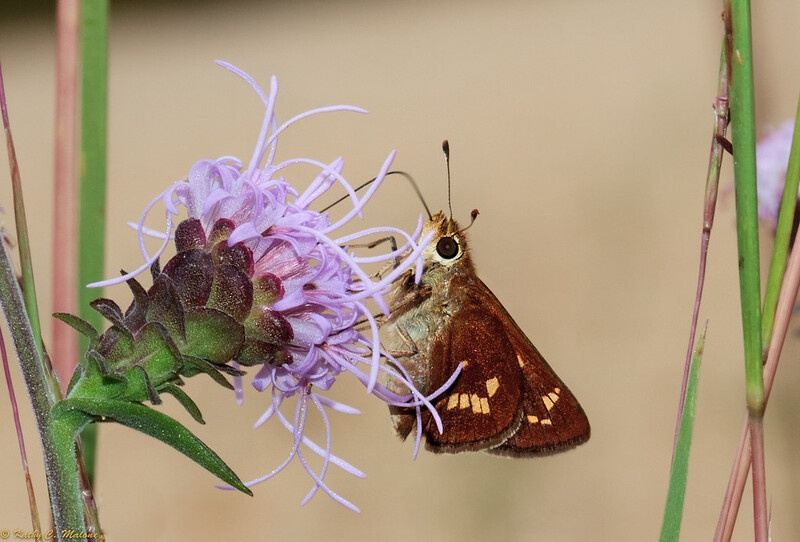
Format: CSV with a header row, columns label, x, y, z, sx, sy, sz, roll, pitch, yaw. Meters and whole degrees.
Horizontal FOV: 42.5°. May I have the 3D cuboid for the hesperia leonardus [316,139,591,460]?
label,x,y,z,sx,sy,sz,roll,pitch,yaw
hesperia leonardus,0.186,0.100,3.095,0.556,0.945,0.423,-16,4,-19
